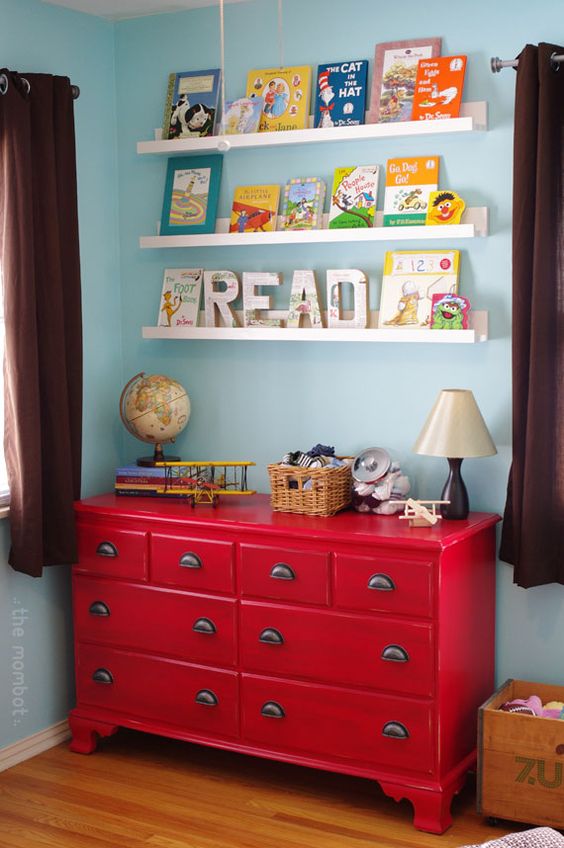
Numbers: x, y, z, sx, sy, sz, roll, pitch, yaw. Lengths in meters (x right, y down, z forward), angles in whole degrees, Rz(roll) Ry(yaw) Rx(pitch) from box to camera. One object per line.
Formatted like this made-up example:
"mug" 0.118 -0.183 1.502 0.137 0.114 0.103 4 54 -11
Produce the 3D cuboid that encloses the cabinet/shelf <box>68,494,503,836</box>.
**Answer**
"cabinet/shelf" -0.050 0.647 2.175 1.172 0.763 0.465 1 2 25

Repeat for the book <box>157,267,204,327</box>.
"book" -0.353 -0.448 2.539 0.194 0.268 0.029 7 -1 34

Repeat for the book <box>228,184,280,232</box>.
"book" -0.084 -0.711 2.360 0.175 0.207 0.028 4 -4 32

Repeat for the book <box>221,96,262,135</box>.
"book" -0.129 -1.013 2.358 0.173 0.154 0.024 -4 -13 34

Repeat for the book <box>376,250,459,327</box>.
"book" 0.404 -0.393 2.082 0.228 0.229 0.032 4 -2 34

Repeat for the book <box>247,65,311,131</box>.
"book" 0.000 -1.040 2.294 0.267 0.240 0.028 4 4 34

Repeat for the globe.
"globe" -0.438 -0.015 2.522 0.250 0.309 0.236 1 4 -9

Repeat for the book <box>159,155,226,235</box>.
"book" -0.300 -0.791 2.483 0.292 0.399 0.031 7 1 32
